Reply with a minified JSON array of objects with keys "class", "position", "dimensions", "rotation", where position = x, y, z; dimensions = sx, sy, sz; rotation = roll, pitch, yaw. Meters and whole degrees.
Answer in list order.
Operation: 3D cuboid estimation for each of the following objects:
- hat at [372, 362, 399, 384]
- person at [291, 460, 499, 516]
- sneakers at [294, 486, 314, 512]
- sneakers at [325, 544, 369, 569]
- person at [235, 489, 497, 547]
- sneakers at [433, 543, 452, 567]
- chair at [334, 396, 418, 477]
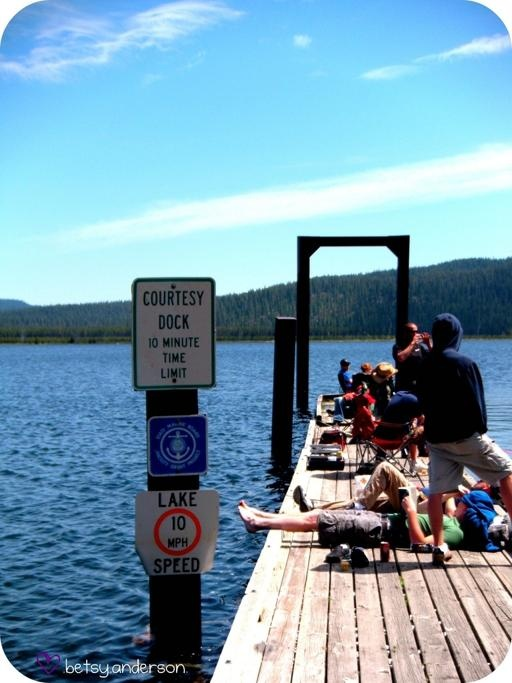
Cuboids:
[{"class":"hat","position":[1.750,0.439,10.689],"dimensions":[0.271,0.125,0.260],"rotation":[-3,31,25]},{"class":"person","position":[1.248,1.427,7.259],"dimensions":[1.745,0.836,0.717],"rotation":[-2,-12,13]},{"class":"sneakers","position":[0.459,1.612,7.613],"dimensions":[0.143,0.392,0.128],"rotation":[5,-26,-22]},{"class":"sneakers","position":[0.737,1.749,6.347],"dimensions":[0.259,0.140,0.177],"rotation":[5,-5,6]},{"class":"person","position":[1.139,1.592,6.729],"dimensions":[1.279,0.470,0.898],"rotation":[2,-3,1]},{"class":"sneakers","position":[1.482,1.714,6.234],"dimensions":[0.075,0.115,0.243],"rotation":[2,10,23]},{"class":"chair","position":[1.584,1.172,9.938],"dimensions":[0.857,1.244,0.911],"rotation":[-4,-3,1]}]
